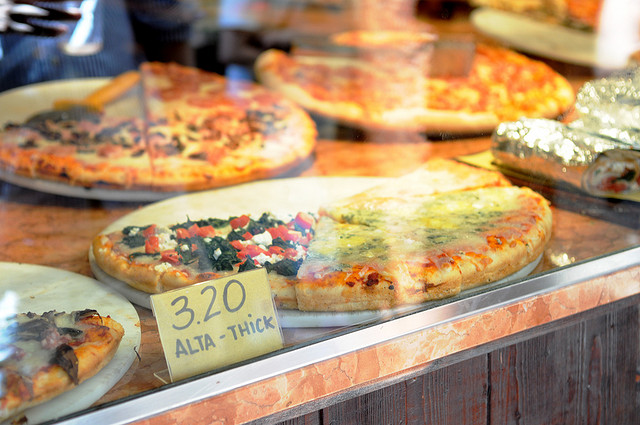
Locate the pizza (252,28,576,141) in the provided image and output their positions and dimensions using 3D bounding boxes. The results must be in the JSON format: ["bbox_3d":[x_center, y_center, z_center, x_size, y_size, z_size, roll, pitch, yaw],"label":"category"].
[{"bbox_3d":[0.325,-0.383,1.711,0.642,0.067,0.462,6,28,2],"label":"pizza"}]

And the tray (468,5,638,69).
[{"bbox_3d":[0.705,-0.566,1.877,0.716,0.150,0.033,8,3,-15],"label":"tray"}]

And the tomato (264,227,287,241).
[{"bbox_3d":[-0.130,0.057,1.601,0.042,0.011,0.039,28,34,-20],"label":"tomato"}]

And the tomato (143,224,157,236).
[{"bbox_3d":[-0.468,0.049,1.565,0.032,0.022,0.028,4,30,10],"label":"tomato"}]

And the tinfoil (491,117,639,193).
[{"bbox_3d":[0.783,-0.218,1.856,0.351,0.117,0.201,29,65,10],"label":"tinfoil"}]

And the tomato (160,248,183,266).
[{"bbox_3d":[-0.392,0.120,1.496,0.048,0.014,0.068,-22,34,-32],"label":"tomato"}]

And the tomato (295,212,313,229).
[{"bbox_3d":[-0.046,0.024,1.660,0.048,0.025,0.047,7,22,-45],"label":"tomato"}]

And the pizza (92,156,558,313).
[{"bbox_3d":[0.111,0.077,1.642,1.413,0.269,0.390,-12,31,-18],"label":"pizza"}]

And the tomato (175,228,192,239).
[{"bbox_3d":[-0.372,0.057,1.550,0.044,0.020,0.026,0,29,4],"label":"tomato"}]

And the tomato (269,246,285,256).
[{"bbox_3d":[-0.119,0.105,1.560,0.038,0.018,0.028,-5,29,-6],"label":"tomato"}]
